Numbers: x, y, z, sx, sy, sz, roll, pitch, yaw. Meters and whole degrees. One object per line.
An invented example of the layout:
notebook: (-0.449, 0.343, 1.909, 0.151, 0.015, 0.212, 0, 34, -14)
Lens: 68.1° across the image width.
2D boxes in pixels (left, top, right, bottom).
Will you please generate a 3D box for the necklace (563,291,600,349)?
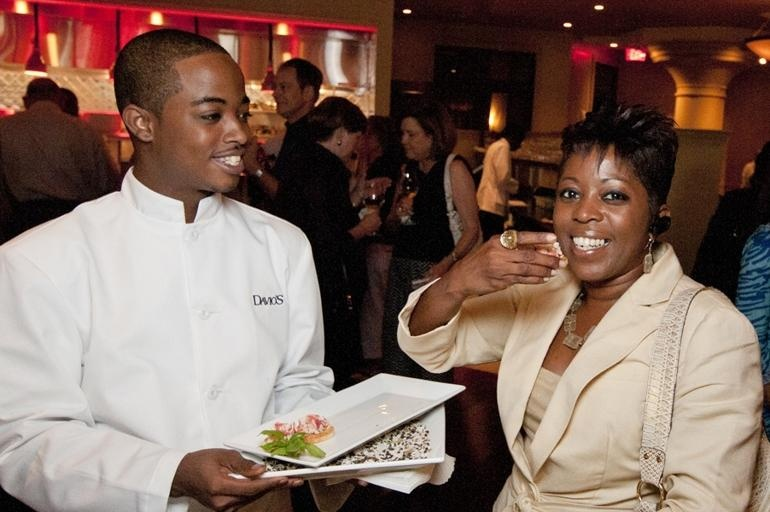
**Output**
necklace: (0.726, 0.238, 2.114, 0.109, 0.165, 0.175, 6, -27, 27)

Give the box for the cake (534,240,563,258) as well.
cake: (0.592, -0.026, 2.063, 0.085, 0.031, 0.083, 13, -3, 10)

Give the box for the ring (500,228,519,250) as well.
ring: (0.436, -0.059, 1.998, 0.066, 0.062, 0.024, -5, 3, 11)

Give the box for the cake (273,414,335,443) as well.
cake: (-0.249, 0.555, 1.844, 0.101, 0.035, 0.110, 0, -3, -29)
